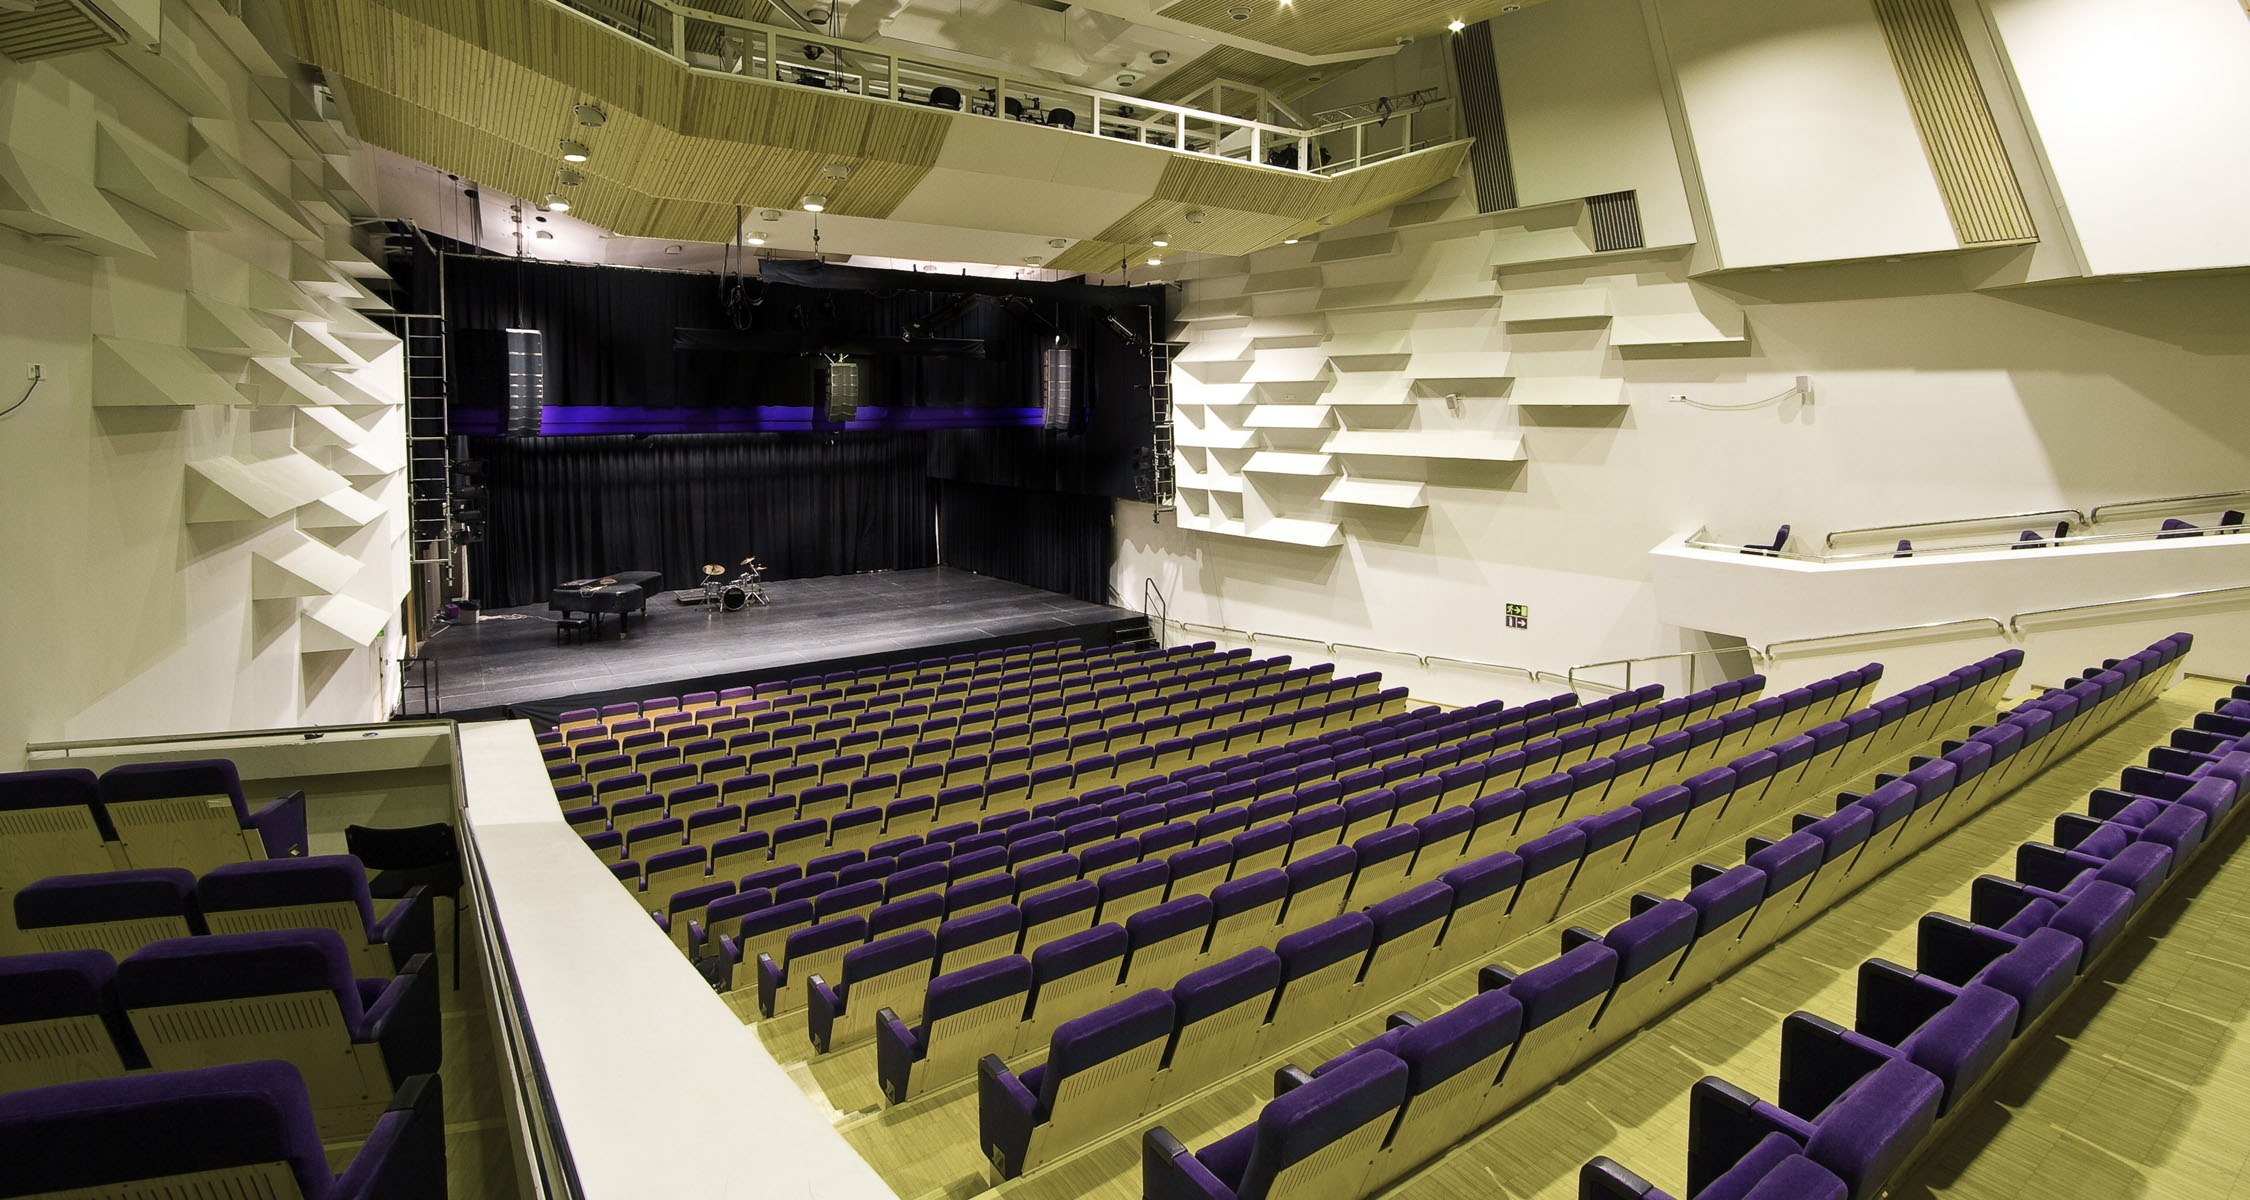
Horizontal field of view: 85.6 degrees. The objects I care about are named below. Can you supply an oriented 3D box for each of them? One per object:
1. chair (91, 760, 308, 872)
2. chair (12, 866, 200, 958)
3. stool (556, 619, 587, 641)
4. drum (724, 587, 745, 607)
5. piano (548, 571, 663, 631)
[{"bbox_3d":[-6.644,1.508,8.898,1.071,0.943,0.993,2,16,-16],"label":"chair"},{"bbox_3d":[-6.467,1.958,7.742,0.959,0.590,0.628,-1,0,-10],"label":"chair"},{"bbox_3d":[-9.123,0.491,19.978,0.383,0.125,0.586,-2,10,-34],"label":"stool"},{"bbox_3d":[-7.204,-0.032,22.297,0.397,0.405,0.279,-8,8,-37],"label":"drum"},{"bbox_3d":[-8.758,0.056,20.465,1.445,0.856,1.813,-5,7,-17],"label":"piano"}]
